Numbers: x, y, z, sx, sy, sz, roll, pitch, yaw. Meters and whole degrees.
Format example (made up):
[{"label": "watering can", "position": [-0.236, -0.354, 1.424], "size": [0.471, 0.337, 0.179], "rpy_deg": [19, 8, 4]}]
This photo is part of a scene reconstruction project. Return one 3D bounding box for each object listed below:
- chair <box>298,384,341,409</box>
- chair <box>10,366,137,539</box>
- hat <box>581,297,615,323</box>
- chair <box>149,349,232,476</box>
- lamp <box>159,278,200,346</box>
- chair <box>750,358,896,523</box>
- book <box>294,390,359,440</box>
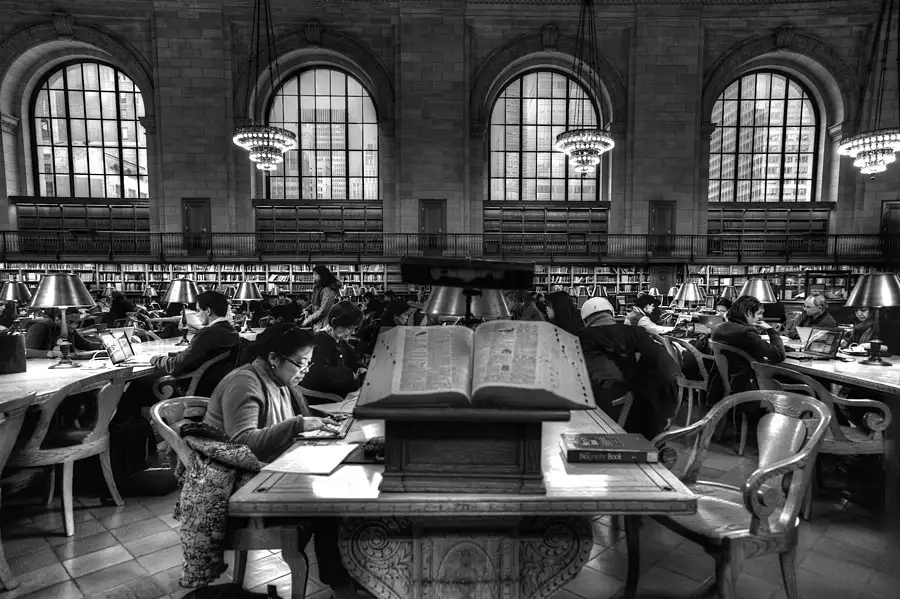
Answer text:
[{"label": "chair", "position": [-1.710, 1.288, 10.004], "size": [0.372, 0.493, 0.380], "rpy_deg": [-9, -3, 30]}, {"label": "chair", "position": [-5.171, 1.883, 10.165], "size": [1.804, 2.347, 1.917], "rpy_deg": [2, -1, -10]}, {"label": "hat", "position": [1.967, 0.127, 10.196], "size": [0.337, 0.352, 0.378], "rpy_deg": [-5, -8, -9]}, {"label": "chair", "position": [-3.009, 1.192, 9.233], "size": [1.236, 1.566, 1.222], "rpy_deg": [-3, -7, -30]}, {"label": "lamp", "position": [-4.119, 0.160, 11.769], "size": [0.589, 0.950, 0.571], "rpy_deg": [-2, -2, 3]}, {"label": "chair", "position": [4.502, 1.776, 10.384], "size": [1.892, 2.486, 1.829], "rpy_deg": [0, 1, -2]}, {"label": "book", "position": [-1.347, 1.437, 8.581], "size": [0.136, 0.398, 1.241], "rpy_deg": [-11, -13, 21]}]
